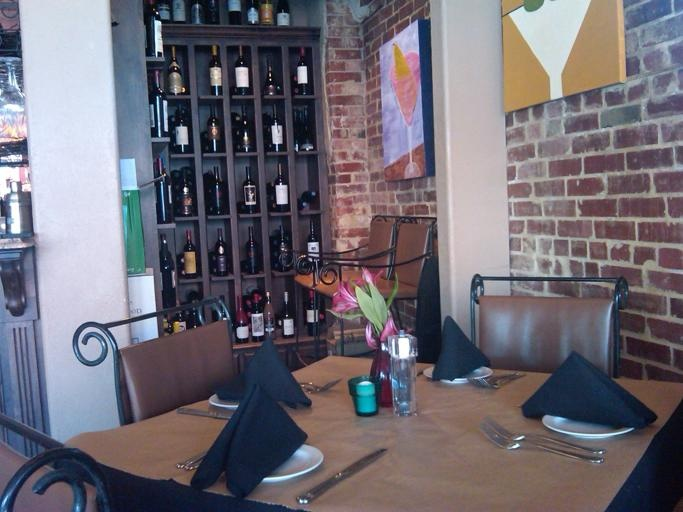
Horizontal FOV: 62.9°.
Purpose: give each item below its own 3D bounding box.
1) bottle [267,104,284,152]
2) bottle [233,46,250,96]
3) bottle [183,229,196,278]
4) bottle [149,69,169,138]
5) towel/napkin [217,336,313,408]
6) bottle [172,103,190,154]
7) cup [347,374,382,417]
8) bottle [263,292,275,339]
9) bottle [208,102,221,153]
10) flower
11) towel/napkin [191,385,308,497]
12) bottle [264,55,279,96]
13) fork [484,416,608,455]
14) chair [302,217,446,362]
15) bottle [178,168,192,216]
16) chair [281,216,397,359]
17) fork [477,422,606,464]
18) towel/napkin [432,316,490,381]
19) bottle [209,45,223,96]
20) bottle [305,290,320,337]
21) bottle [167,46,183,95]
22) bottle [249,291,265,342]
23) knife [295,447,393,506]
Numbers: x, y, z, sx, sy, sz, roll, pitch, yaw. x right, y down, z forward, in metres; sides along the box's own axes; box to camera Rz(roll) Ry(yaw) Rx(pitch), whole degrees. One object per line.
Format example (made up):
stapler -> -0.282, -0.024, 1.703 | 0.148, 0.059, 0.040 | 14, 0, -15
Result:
bottle -> -0.506, -0.989, 4.318 | 0.119, 0.348, 0.290 | -3, 13, -2
bottle -> -0.753, -1.394, 4.209 | 0.125, 0.361, 0.283 | -5, 13, -9
bottle -> -1.146, -0.043, 4.167 | 0.115, 0.348, 0.311 | -6, 13, -14
bottle -> -1.120, -0.922, 3.377 | 0.104, 0.400, 0.364 | -6, 13, -16
towel/napkin -> -0.214, 0.324, 1.577 | 0.265, 0.191, 0.169 | 2, -17, 10
bottle -> -1.196, -0.943, 4.149 | 0.134, 0.341, 0.288 | -6, 13, -16
cup -> 0.067, 0.377, 1.503 | 0.089, 0.090, 0.096 | -4, -3, 0
bottle -> -0.550, 0.434, 4.209 | 0.079, 0.326, 0.411 | -4, 13, -7
bottle -> -0.962, -0.922, 4.207 | 0.104, 0.278, 0.171 | -5, 13, -11
flower -> 0.087, 0.148, 1.541 | 0.136, 0.202, 0.164 | -23, 16, -37
towel/napkin -> -0.202, 0.400, 1.217 | 0.121, 0.171, 0.242 | 8, 17, 40
bottle -> -0.538, -1.372, 4.284 | 0.124, 0.289, 0.295 | -3, 13, -1
fork -> 0.462, 0.425, 1.292 | 0.275, 0.053, 0.082 | 3, 8, 30
chair -> 0.250, 0.036, 3.587 | 0.774, 0.724, 0.607 | -10, -5, -13
bottle -> -1.174, -0.479, 4.186 | 0.105, 0.324, 0.249 | -6, 13, -15
chair -> 0.124, 0.171, 3.761 | 0.674, 0.862, 0.695 | -7, 7, -10
fork -> 0.454, 0.427, 1.289 | 0.278, 0.053, 0.084 | 4, 6, 31
towel/napkin -> 0.336, 0.226, 1.642 | 0.113, 0.202, 0.202 | 4, -29, 22
bottle -> -0.940, -1.374, 4.147 | 0.104, 0.361, 0.172 | -6, 13, -12
bottle -> -0.217, 0.420, 4.170 | 0.085, 0.353, 0.085 | -5, -14, -1
bottle -> -1.229, -1.357, 4.090 | 0.119, 0.352, 0.229 | -6, 13, -14
bottle -> -0.638, 0.442, 4.203 | 0.115, 0.299, 0.352 | -5, 13, -9
knife -> 0.026, 0.462, 1.243 | 0.058, 0.020, 0.405 | 2, 7, 32
